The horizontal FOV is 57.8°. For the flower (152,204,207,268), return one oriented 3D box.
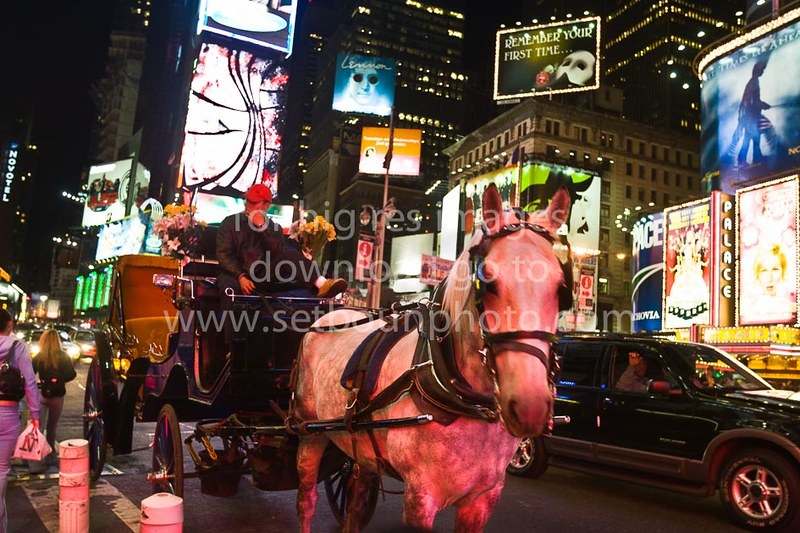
[{"bbox_3d":[-4.800,-0.690,16.604,1.109,1.346,1.292,7,0,16],"label":"flower"}]

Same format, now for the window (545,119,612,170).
[{"bbox_3d":[18.691,-13.063,77.738,5.690,5.415,3.438,8,-12,-25],"label":"window"}]

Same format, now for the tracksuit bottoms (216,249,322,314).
[{"bbox_3d":[-2.718,0.119,15.378,1.763,1.255,1.038,-20,-25,41],"label":"tracksuit bottoms"}]

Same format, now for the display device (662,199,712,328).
[{"bbox_3d":[17.048,-0.152,43.524,0.747,7.712,3.423,6,-5,-23],"label":"display device"}]

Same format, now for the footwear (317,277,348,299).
[{"bbox_3d":[-1.411,0.473,15.307,0.637,0.318,0.320,-23,-38,31],"label":"footwear"}]

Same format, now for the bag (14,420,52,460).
[{"bbox_3d":[-7.360,3.525,14.604,0.754,0.737,0.330,4,-5,7],"label":"bag"}]

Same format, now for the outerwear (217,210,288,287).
[{"bbox_3d":[-3.243,-0.405,15.828,1.534,1.829,1.421,-2,-1,28],"label":"outerwear"}]

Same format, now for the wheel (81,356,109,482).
[{"bbox_3d":[-7.023,3.608,16.823,0.620,2.667,2.530,4,-8,-28],"label":"wheel"}]
